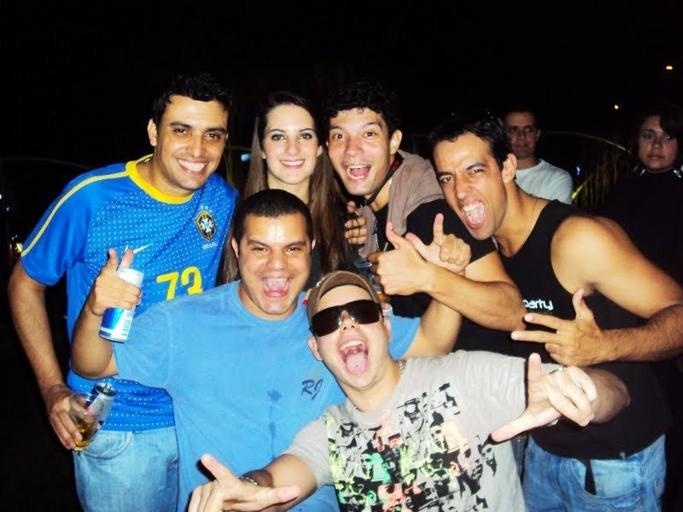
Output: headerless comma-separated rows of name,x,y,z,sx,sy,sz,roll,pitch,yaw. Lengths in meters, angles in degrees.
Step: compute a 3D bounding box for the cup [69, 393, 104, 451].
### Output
cup,-2.014,1.309,4.144,0.207,0.442,0.176,-7,14,-30
